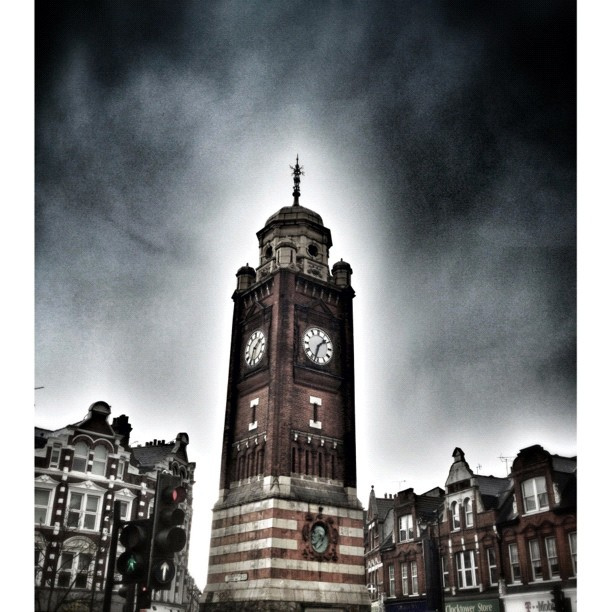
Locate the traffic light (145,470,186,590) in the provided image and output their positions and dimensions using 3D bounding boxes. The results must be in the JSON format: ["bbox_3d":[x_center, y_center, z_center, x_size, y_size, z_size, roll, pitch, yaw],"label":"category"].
[{"bbox_3d":[-1.553,2.488,6.998,0.387,1.250,0.539,6,-27,-11],"label":"traffic light"}]

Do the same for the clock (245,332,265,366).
[{"bbox_3d":[-2.353,1.991,28.702,0.107,1.570,1.491,15,-9,-30],"label":"clock"}]

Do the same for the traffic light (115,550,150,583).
[{"bbox_3d":[-1.882,2.842,6.810,0.373,0.310,0.151,-16,-31,29],"label":"traffic light"}]

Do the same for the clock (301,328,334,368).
[{"bbox_3d":[0.537,1.864,28.553,1.743,1.837,0.178,18,-31,-31],"label":"clock"}]

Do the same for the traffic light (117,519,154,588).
[{"bbox_3d":[-1.861,2.719,6.850,0.430,0.668,0.204,-12,-29,23],"label":"traffic light"}]
